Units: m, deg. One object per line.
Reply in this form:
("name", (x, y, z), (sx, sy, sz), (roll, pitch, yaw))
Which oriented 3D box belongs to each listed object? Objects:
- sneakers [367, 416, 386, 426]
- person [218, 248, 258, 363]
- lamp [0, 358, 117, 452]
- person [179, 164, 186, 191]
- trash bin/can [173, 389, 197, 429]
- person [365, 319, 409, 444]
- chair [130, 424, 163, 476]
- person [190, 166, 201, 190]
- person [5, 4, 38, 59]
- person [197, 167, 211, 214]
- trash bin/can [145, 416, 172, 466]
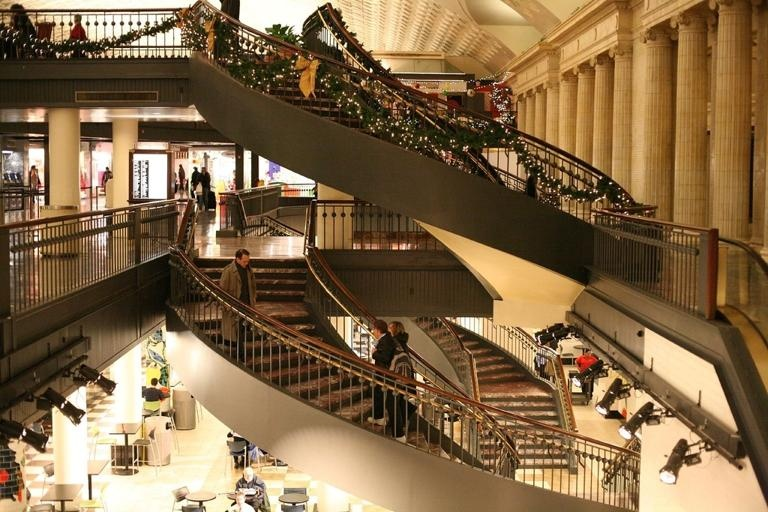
("sneakers", (-0.096, 2.397, 10.124), (0.254, 0.143, 0.330), (-1, -1, -5))
("person", (-2.235, 0.742, 10.634), (0.515, 1.681, 0.796), (0, -1, -11))
("lamp", (-4.050, 1.871, 8.687), (0.606, 0.840, 1.665), (-1, -1, 10))
("person", (-7.608, -2.966, 26.241), (0.339, 1.098, 1.413), (0, -1, -14))
("trash bin/can", (-4.893, 3.753, 17.121), (0.540, 1.050, 0.568), (0, -1, -18))
("person", (0.073, 1.794, 10.216), (0.577, 1.693, 0.879), (-1, -1, 1))
("chair", (-5.148, 4.097, 15.016), (0.501, 0.801, 0.531), (1, -3, 17))
("person", (-5.958, -2.521, 22.126), (0.258, 0.728, 0.931), (0, -1, -17))
("person", (-7.109, -4.407, 13.625), (0.599, 1.142, 0.571), (0, -1, -16))
("person", (-5.879, -2.222, 22.677), (0.401, 1.415, 1.438), (0, -1, -13))
("trash bin/can", (-4.939, 4.049, 15.212), (0.516, 0.979, 0.543), (0, -7, -12))
